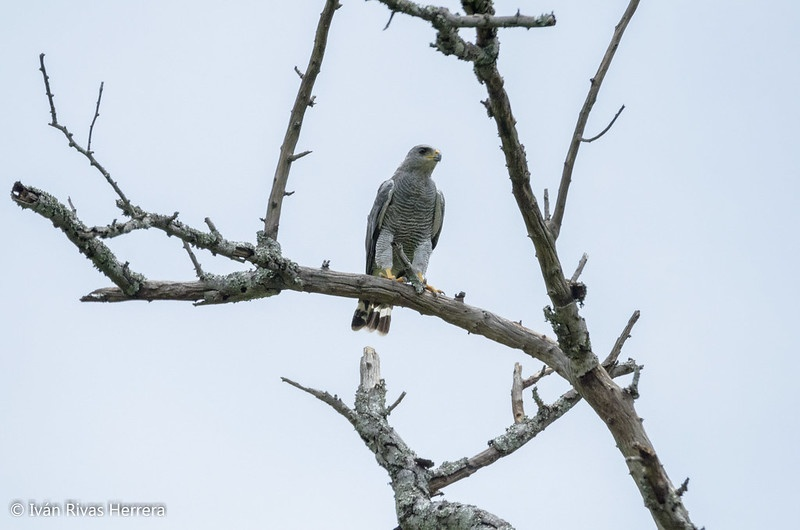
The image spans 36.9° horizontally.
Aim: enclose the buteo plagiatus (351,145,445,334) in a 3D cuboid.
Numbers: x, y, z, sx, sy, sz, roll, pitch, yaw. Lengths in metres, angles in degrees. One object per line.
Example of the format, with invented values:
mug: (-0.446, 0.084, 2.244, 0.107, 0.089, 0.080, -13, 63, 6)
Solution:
buteo plagiatus: (0.009, -0.210, 12.490, 0.690, 1.615, 1.558, 18, -51, -20)
